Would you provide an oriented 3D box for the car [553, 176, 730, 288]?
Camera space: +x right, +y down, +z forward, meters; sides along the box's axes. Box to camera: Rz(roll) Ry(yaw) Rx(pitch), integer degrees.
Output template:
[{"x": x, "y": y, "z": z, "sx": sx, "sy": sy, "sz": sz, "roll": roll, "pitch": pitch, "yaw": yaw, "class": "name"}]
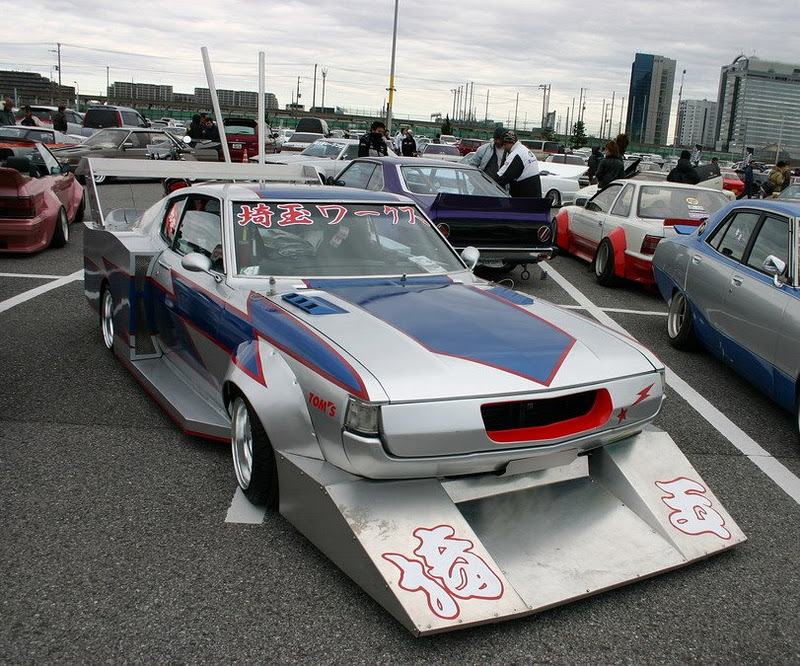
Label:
[{"x": 4.149, "y": -2.011, "z": 9.861, "sx": 2.333, "sy": 0.952, "sz": 3.202, "roll": -7, "pitch": 22, "yaw": -19, "class": "car"}]
